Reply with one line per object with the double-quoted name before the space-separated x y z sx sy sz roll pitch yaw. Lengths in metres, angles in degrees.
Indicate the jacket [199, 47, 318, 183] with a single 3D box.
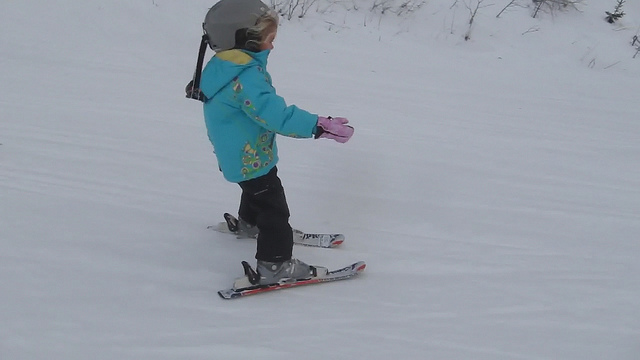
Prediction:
"jacket" -0.769 -0.714 10.798 1.190 1.152 1.752 -19 33 -33
